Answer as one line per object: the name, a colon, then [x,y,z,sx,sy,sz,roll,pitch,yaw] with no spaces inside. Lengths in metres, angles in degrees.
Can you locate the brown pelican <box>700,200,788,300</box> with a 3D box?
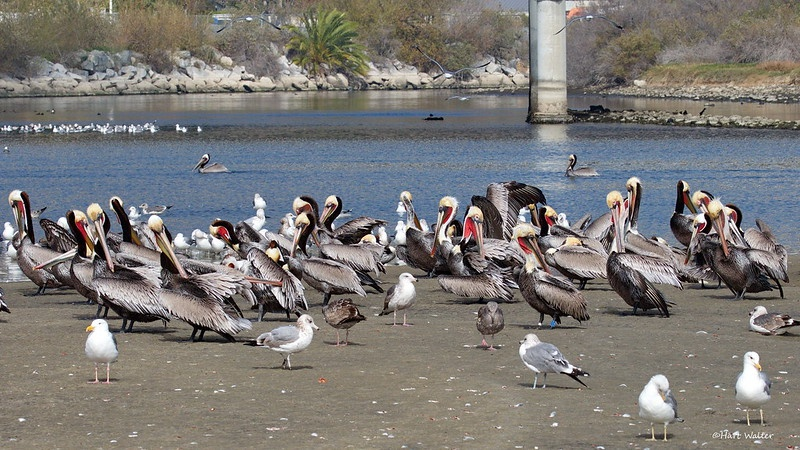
brown pelican: [17.600,1.318,77.746,3.048,5.915,4.557,4,1,25]

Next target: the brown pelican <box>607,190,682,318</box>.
brown pelican: [11.748,2.047,76.000,2.636,5.276,3.509,-13,16,-39]
